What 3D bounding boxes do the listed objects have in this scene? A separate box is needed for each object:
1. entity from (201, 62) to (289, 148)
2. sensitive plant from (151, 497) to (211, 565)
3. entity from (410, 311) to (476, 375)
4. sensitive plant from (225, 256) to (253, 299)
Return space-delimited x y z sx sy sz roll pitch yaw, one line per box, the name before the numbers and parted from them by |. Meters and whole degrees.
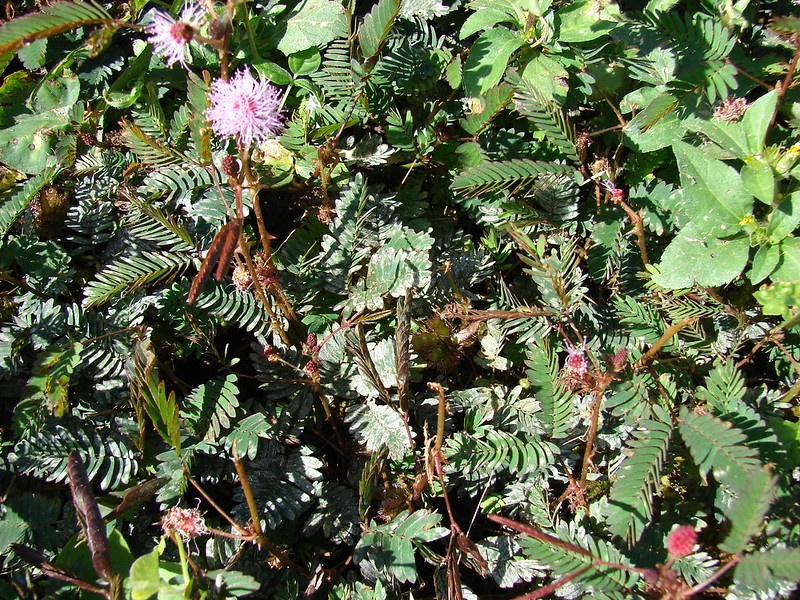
entity | -0.522 -0.605 2.189 0.279 0.153 0.297 8 78 -8
sensitive plant | -0.718 0.776 2.177 0.211 0.216 0.130 7 101 -10
entity | 0.176 0.198 2.637 0.246 0.295 0.146 5 58 4
sensitive plant | -0.591 -0.076 2.429 0.087 0.102 0.199 -13 24 -8
